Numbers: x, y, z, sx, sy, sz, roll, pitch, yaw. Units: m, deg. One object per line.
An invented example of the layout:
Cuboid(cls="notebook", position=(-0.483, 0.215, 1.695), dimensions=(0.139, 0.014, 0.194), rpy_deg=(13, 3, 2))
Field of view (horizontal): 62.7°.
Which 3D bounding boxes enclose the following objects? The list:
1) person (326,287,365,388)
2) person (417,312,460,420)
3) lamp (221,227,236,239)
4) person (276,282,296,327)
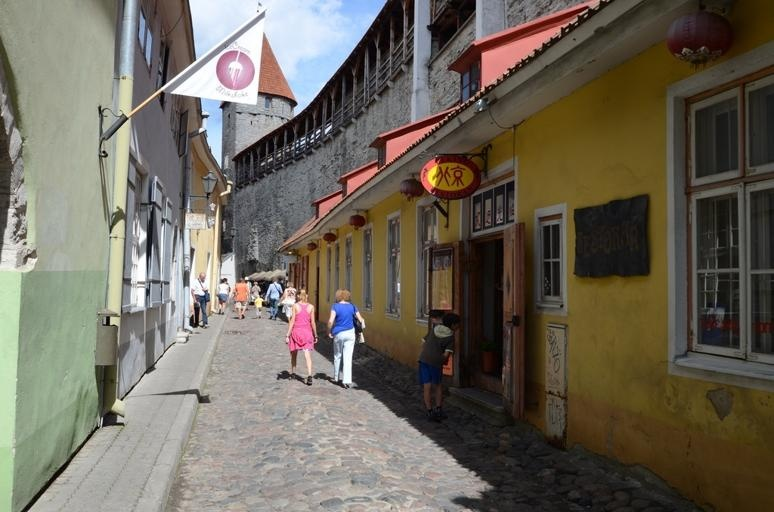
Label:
Cuboid(cls="person", position=(-0.774, 1.495, 11.865), dimensions=(0.613, 1.394, 1.166), rpy_deg=(2, 0, -5))
Cuboid(cls="person", position=(0.758, 1.612, 9.426), dimensions=(0.556, 1.350, 0.362), rpy_deg=(2, 1, 5))
Cuboid(cls="lamp", position=(-16.381, -2.313, 64.675), dimensions=(0.926, 1.343, 1.795), rpy_deg=(5, -8, -30))
Cuboid(cls="person", position=(-3.078, 1.421, 19.659), dimensions=(0.441, 1.494, 0.326), rpy_deg=(-5, 21, -21))
